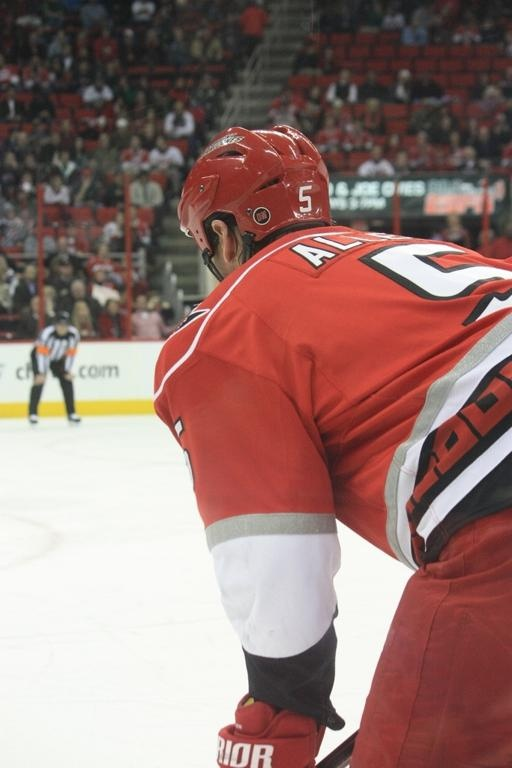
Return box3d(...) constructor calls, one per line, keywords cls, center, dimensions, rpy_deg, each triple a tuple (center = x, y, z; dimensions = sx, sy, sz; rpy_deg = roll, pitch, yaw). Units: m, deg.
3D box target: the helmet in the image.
box3d(cls="helmet", center=(0.005, -0.273, 1.472), dimensions=(0.203, 0.216, 0.220), rpy_deg=(-12, 1, -43))
